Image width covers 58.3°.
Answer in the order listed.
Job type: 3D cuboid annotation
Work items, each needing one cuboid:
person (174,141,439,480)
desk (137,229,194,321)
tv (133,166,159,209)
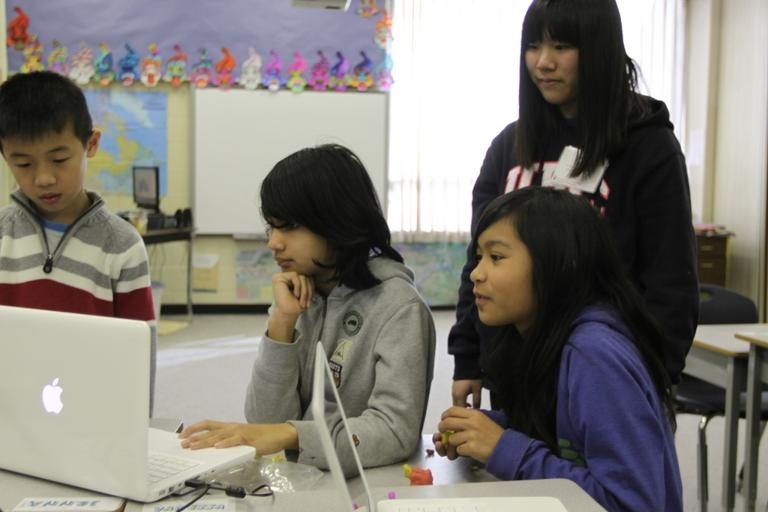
[{"bbox_3d":[-0.229,0.147,2.092,0.746,0.945,0.635,3,-4,-38],"label":"person"},{"bbox_3d":[-1.940,0.067,5.831,0.654,0.607,0.499,1,6,-14],"label":"desk"},{"bbox_3d":[-2.038,-0.583,5.881,0.317,0.300,0.102,12,18,41],"label":"tv"}]
